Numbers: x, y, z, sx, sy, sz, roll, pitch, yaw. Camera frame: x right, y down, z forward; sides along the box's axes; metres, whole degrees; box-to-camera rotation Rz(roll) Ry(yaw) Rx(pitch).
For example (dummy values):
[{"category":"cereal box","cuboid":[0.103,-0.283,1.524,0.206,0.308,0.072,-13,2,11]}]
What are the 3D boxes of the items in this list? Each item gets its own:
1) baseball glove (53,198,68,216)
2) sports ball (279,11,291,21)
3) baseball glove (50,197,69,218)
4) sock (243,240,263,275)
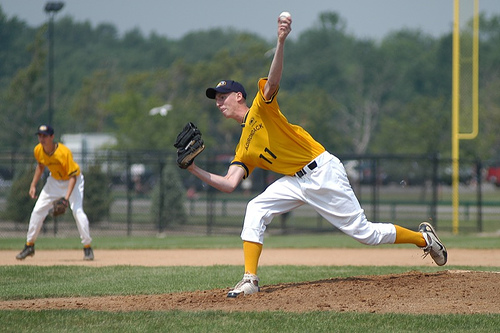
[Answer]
[{"category":"baseball glove","cuboid":[-4.807,1.078,29.730,0.332,0.452,0.416,4,9,34]},{"category":"sports ball","cuboid":[0.861,-3.444,25.935,0.202,0.179,0.360,-1,8,1]},{"category":"baseball glove","cuboid":[-4.852,1.087,29.814,0.406,0.407,0.505,15,-19,-26]},{"category":"sock","cuboid":[0.100,2.316,26.695,0.349,0.320,0.976,9,30,-2]}]
